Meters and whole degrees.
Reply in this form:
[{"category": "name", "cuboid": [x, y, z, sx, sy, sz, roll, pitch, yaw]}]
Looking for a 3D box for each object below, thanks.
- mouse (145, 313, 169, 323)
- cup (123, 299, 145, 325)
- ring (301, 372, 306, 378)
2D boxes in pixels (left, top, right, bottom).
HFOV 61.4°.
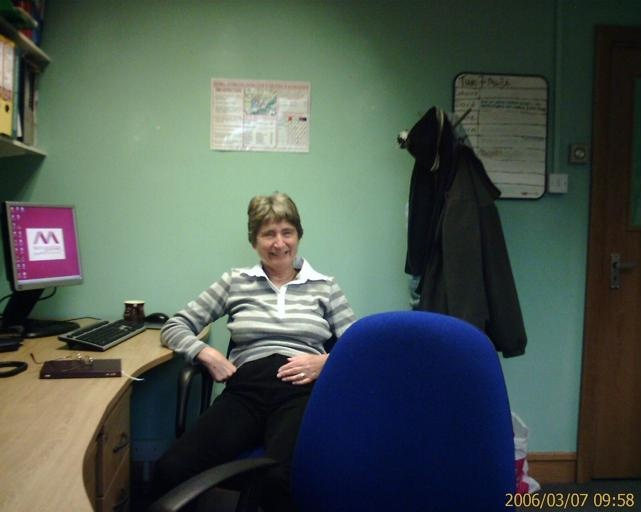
[{"category": "mouse", "cuboid": [-0.812, 0.303, 2.688, 0.146, 0.057, 0.044, 2, 1, 6]}, {"category": "cup", "cuboid": [-0.913, 0.271, 2.635, 0.104, 0.104, 0.102, 0, -4, 0]}, {"category": "ring", "cuboid": [-0.076, 0.486, 2.226, 0.014, 0.004, 0.015, 7, 42, 1]}]
